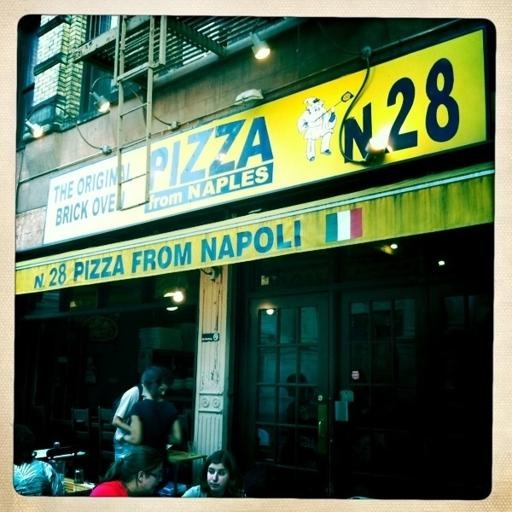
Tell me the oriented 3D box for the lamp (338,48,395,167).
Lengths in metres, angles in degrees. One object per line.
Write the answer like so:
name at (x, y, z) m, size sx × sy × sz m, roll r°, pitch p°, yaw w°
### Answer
lamp at (0.995, -1.423, 6.388) m, size 0.490 × 0.205 × 1.401 m, roll 4°, pitch -45°, yaw 4°

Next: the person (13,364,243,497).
person at (-0.810, 1.340, 4.450) m, size 1.188 × 0.529 × 0.971 m, roll 1°, pitch -19°, yaw -4°
